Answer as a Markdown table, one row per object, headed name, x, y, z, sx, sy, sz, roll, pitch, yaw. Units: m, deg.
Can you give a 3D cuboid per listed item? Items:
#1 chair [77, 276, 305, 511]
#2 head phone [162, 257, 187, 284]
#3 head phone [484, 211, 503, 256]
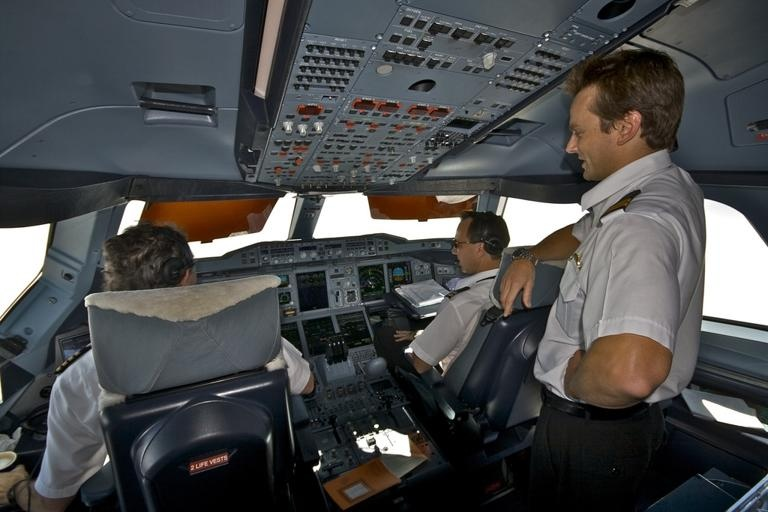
| name | x | y | z | sx | sy | sz | roll | pitch | yaw |
| --- | --- | --- | --- | --- | --- | --- | --- | --- | --- |
| chair | -0.799 | 0.456 | 2.230 | 1.013 | 1.082 | 0.948 | -6 | 17 | -15 |
| head phone | -1.012 | 0.069 | 2.152 | 0.102 | 0.114 | 0.105 | 13 | -36 | -14 |
| head phone | 0.752 | -0.149 | 2.967 | 0.109 | 0.232 | 0.195 | -9 | -5 | 8 |
